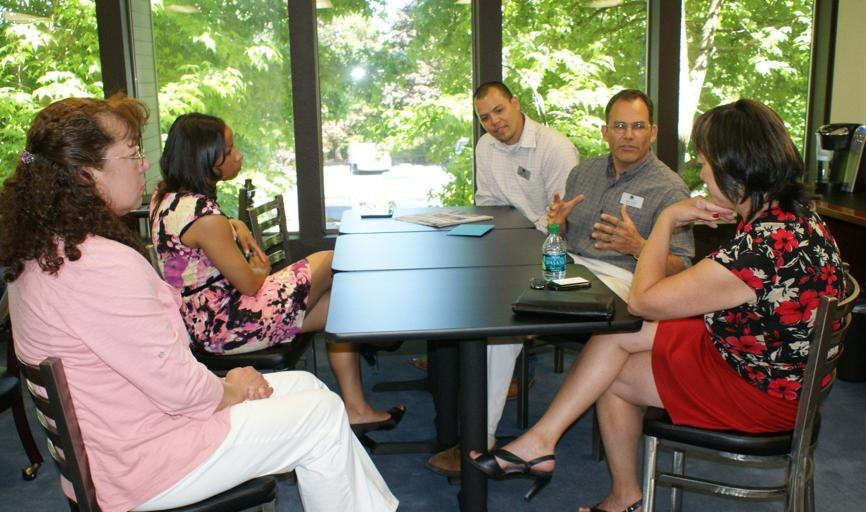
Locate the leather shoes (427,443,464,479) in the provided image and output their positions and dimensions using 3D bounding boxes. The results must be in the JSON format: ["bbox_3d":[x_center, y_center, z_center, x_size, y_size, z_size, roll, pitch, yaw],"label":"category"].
[{"bbox_3d":[0.076,1.091,3.478,0.243,0.088,0.148,0,4,-26],"label":"leather shoes"}]

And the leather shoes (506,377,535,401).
[{"bbox_3d":[0.522,0.812,3.969,0.165,0.061,0.214,-1,13,1],"label":"leather shoes"}]

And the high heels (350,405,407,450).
[{"bbox_3d":[-0.281,0.977,3.836,0.397,0.158,0.118,-20,29,-30],"label":"high heels"}]

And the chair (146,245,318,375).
[{"bbox_3d":[-0.967,0.265,3.122,0.593,0.786,0.477,2,21,6],"label":"chair"}]
